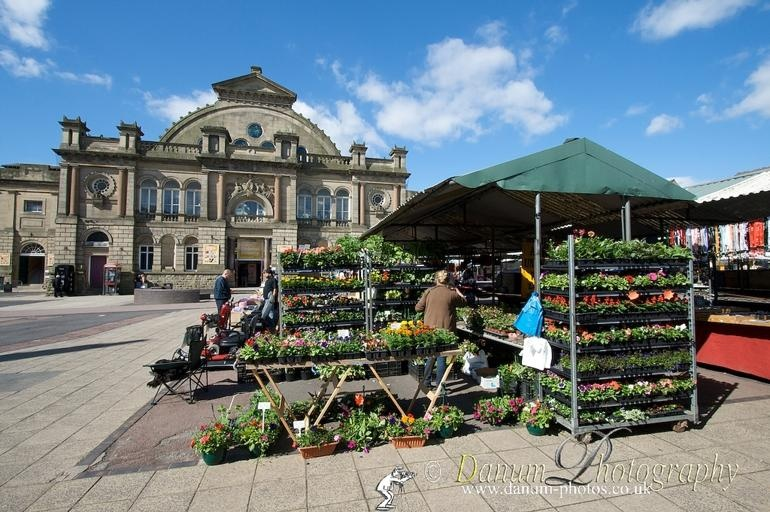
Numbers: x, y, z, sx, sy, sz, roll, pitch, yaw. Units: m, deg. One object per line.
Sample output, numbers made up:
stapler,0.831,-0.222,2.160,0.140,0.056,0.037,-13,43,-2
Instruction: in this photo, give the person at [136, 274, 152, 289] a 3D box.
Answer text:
person,-15.909,1.536,35.642,1.006,0.878,0.789,0,-1,-28

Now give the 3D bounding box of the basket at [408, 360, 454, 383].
basket,1.078,2.687,12.520,0.924,0.365,0.872,1,-8,-9

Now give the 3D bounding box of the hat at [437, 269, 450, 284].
hat,1.314,0.469,12.576,0.249,0.288,0.307,3,19,-9

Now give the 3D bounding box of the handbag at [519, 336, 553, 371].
handbag,3.213,2.079,11.425,0.759,0.711,0.236,-7,-21,39

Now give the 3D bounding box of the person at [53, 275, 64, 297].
person,-20.522,1.797,34.033,0.536,1.410,0.867,0,-1,-32
